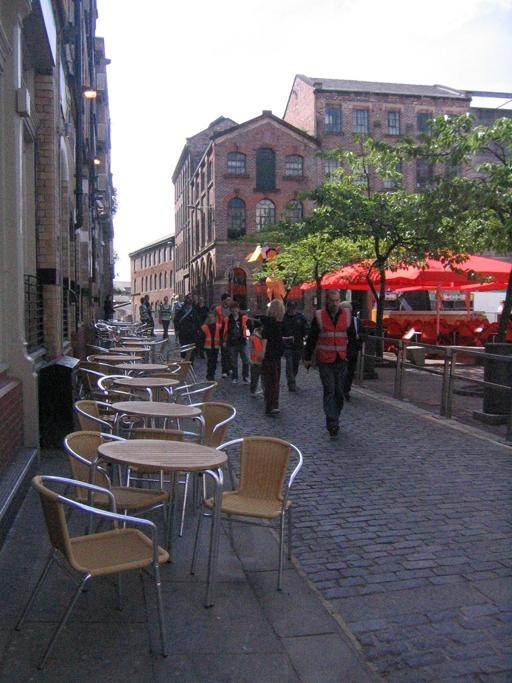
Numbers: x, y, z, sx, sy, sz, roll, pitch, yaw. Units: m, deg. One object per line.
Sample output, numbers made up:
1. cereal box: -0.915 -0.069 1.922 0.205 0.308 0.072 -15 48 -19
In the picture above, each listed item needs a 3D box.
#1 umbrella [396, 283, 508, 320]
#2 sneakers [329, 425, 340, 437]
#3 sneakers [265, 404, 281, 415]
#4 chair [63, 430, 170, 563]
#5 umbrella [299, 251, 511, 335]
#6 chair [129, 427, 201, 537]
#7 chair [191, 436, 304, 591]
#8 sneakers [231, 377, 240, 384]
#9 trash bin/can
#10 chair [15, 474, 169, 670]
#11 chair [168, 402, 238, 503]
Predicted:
1. umbrella: 8.081 -1.682 26.040 2.812 0.977 2.691 0 1 -12
2. sneakers: 0.998 1.143 7.957 0.091 0.181 0.074 2 7 -14
3. sneakers: 0.258 1.058 9.548 0.237 0.179 0.093 -2 5 -4
4. chair: -0.819 0.862 3.597 0.542 0.718 0.579 -4 -5 10
5. umbrella: 4.816 -1.572 19.760 4.513 1.741 4.427 1 3 15
6. chair: -0.613 0.858 3.967 0.448 0.606 0.383 -6 -4 -5
7. chair: -0.048 1.011 3.664 0.619 0.778 0.626 2 3 -27
8. sneakers: -0.478 0.882 14.013 0.102 0.126 0.289 0 -8 -3
9. trash bin/can: -2.166 0.691 6.679 0.379 0.920 0.456 -2 6 -20
10. chair: -0.693 0.925 2.578 0.612 0.699 0.539 3 2 -20
11. chair: -0.433 0.861 4.911 0.504 0.671 0.523 4 7 12
